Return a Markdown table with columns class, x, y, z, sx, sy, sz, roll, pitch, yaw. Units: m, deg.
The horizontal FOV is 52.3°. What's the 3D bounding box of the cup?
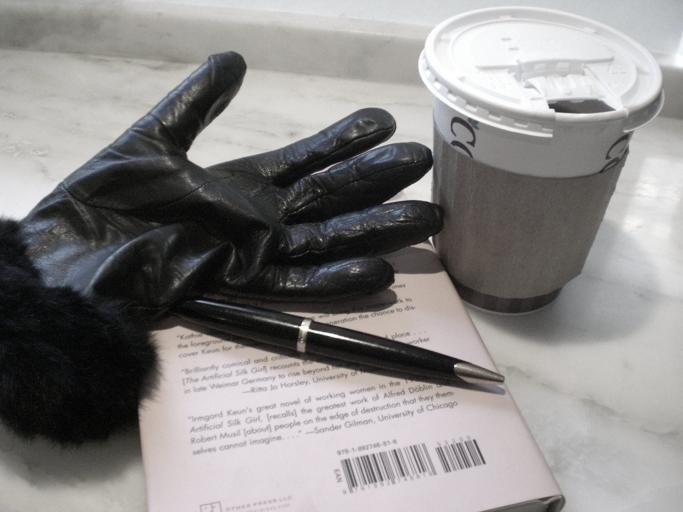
| class | x | y | z | sx | sy | sz | roll | pitch | yaw |
| --- | --- | --- | --- | --- | --- | --- | --- | --- | --- |
| cup | 0.183 | -0.135 | 0.817 | 0.272 | 0.300 | 0.279 | 0 | 44 | 0 |
